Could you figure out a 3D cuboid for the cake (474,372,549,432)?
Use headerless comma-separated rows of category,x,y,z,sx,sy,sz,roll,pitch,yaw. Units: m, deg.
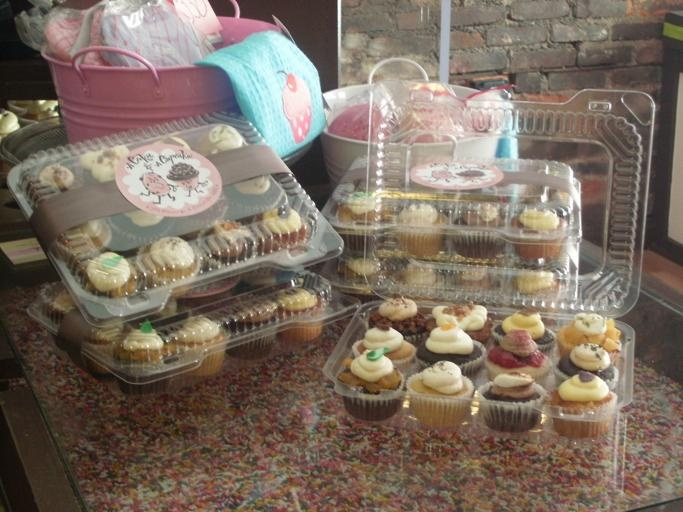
cake,0.249,0.210,0.874,0.092,0.059,0.088,1,3,-13

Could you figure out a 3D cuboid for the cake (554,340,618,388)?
cake,0.366,0.155,0.883,0.070,0.044,0.067,-13,25,-40

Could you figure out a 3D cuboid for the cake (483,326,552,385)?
cake,0.280,0.151,0.939,0.105,0.074,0.096,-6,22,11

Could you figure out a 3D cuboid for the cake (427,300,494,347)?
cake,0.204,0.113,1.003,0.100,0.051,0.103,-12,31,-18

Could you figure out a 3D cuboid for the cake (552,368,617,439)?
cake,0.346,0.206,0.860,0.097,0.074,0.091,1,13,10

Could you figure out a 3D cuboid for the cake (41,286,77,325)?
cake,-0.450,0.072,0.968,0.048,0.023,0.079,-33,48,-18

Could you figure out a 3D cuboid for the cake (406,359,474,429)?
cake,0.148,0.200,0.887,0.100,0.073,0.094,0,12,-2

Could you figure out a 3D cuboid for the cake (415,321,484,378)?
cake,0.178,0.146,0.932,0.094,0.050,0.086,-9,22,-8

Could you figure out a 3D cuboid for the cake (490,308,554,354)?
cake,0.295,0.112,0.966,0.075,0.042,0.076,16,26,41
